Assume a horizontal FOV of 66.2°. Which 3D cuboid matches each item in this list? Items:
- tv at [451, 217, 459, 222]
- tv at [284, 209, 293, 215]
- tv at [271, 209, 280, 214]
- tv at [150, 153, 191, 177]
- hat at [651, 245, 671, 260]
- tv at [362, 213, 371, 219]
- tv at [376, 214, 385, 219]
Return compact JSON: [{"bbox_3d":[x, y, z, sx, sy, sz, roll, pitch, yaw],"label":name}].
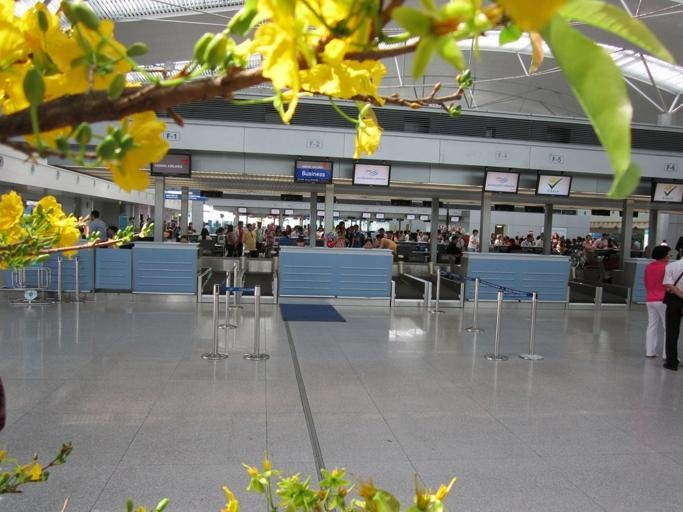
[{"bbox_3d":[6.876,-2.205,31.667,0.442,0.284,0.301,5,6,20],"label":"tv"},{"bbox_3d":[-3.272,-2.812,32.958,0.503,0.431,0.254,1,4,-3],"label":"tv"},{"bbox_3d":[-4.326,-2.857,33.992,0.664,0.343,0.398,-1,-3,-16],"label":"tv"},{"bbox_3d":[-3.751,-2.023,11.565,0.850,0.572,0.621,1,4,-21],"label":"tv"},{"bbox_3d":[4.771,-0.042,7.891,0.210,0.271,0.279,3,14,10],"label":"hat"},{"bbox_3d":[1.479,-2.332,30.625,0.344,0.322,0.085,1,6,9],"label":"tv"},{"bbox_3d":[2.171,-2.243,29.613,0.446,0.310,0.105,1,0,-3],"label":"tv"}]
